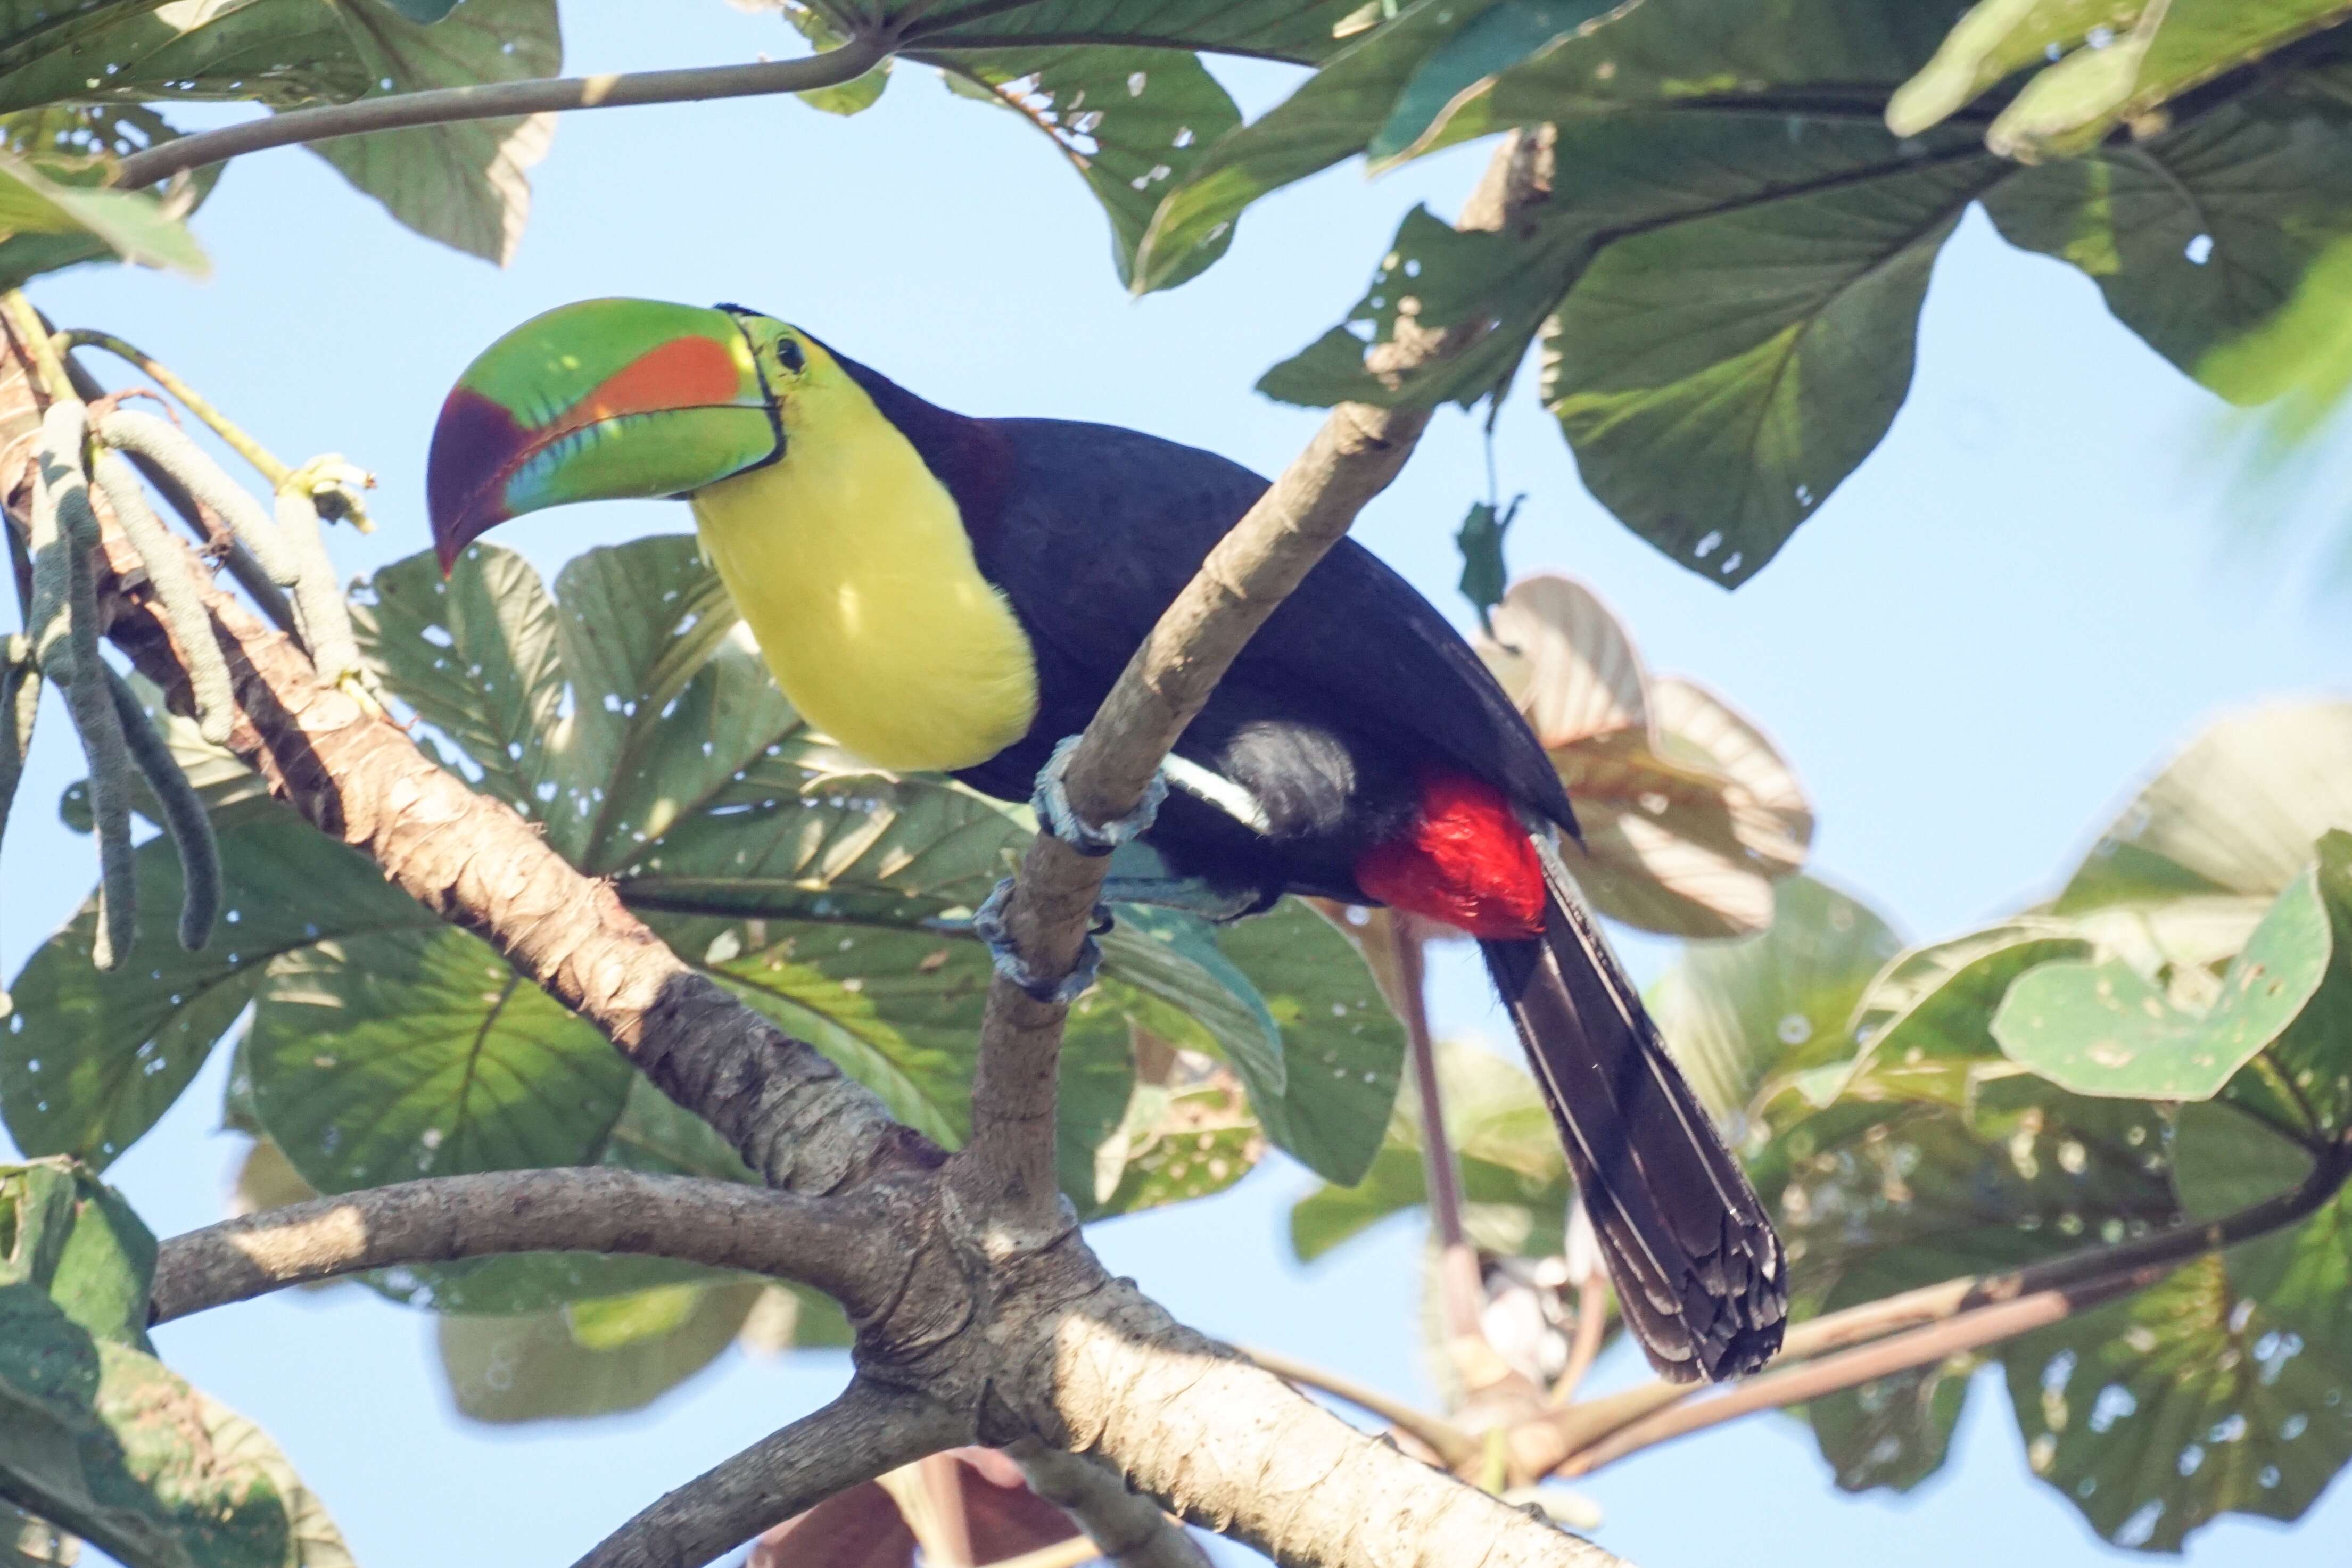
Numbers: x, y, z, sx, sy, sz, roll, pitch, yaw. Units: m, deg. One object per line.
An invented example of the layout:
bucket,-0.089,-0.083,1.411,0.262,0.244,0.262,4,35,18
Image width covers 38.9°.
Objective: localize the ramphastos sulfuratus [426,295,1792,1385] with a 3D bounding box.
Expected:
ramphastos sulfuratus,-0.034,-0.041,5.829,2.643,1.080,0.681,20,-30,-20
